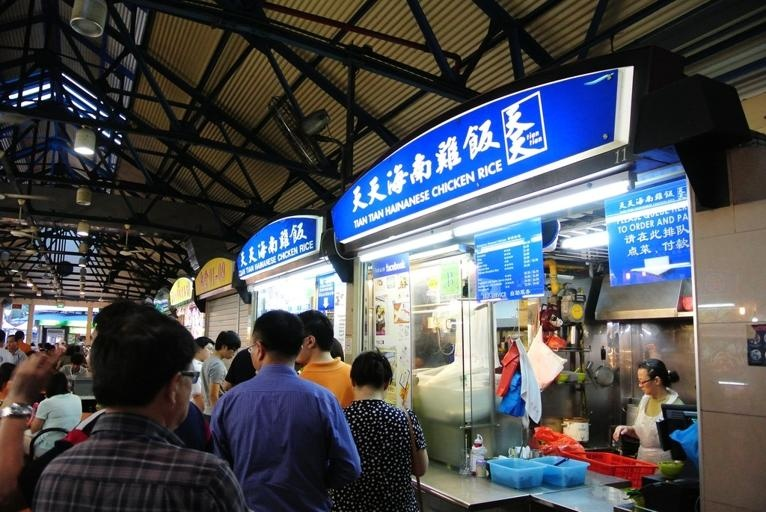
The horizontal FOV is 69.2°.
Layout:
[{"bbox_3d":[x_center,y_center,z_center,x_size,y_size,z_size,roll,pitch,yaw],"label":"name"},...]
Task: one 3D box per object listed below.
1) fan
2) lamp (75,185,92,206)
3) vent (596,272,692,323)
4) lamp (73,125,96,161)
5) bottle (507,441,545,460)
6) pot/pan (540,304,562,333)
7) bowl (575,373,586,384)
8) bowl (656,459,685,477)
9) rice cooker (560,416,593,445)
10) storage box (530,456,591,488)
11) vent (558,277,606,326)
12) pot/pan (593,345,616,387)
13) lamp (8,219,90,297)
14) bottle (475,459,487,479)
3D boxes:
[{"bbox_3d":[-1.138,-1.646,7.975,0.798,0.600,2.059,-22,31,-5],"label":"fan"},{"bbox_3d":[-5.255,-1.086,9.725,0.198,0.416,0.518,6,-14,-26],"label":"lamp"},{"bbox_3d":[3.048,0.512,6.381,0.245,0.475,0.756,13,-14,-26],"label":"vent"},{"bbox_3d":[-4.249,-1.666,7.897,0.230,0.509,0.418,8,-15,-32],"label":"lamp"},{"bbox_3d":[1.152,1.577,4.518,0.125,0.172,0.200,-19,-28,31],"label":"bottle"},{"bbox_3d":[1.951,0.721,6.454,0.256,0.331,0.345,-4,-51,14],"label":"pot/pan"},{"bbox_3d":[2.526,1.564,7.146,0.142,0.099,0.183,4,-16,-15],"label":"bowl"},{"bbox_3d":[1.835,1.343,3.543,0.116,0.065,0.113,-3,-17,-1],"label":"bowl"},{"bbox_3d":[2.481,2.219,7.036,0.279,0.330,0.510,-12,-17,42],"label":"rice cooker"},{"bbox_3d":[1.336,1.627,4.266,0.208,0.097,0.279,3,-8,-14],"label":"storage box"},{"bbox_3d":[2.765,0.588,7.818,0.448,0.646,0.536,1,17,5],"label":"vent"},{"bbox_3d":[3.021,1.499,7.583,0.311,0.553,0.574,-5,-13,21],"label":"pot/pan"},{"bbox_3d":[-11.879,0.103,19.673,2.796,1.995,0.658,9,22,19],"label":"lamp"},{"bbox_3d":[0.774,1.660,4.344,0.119,0.133,0.117,1,-13,-3],"label":"bottle"}]
